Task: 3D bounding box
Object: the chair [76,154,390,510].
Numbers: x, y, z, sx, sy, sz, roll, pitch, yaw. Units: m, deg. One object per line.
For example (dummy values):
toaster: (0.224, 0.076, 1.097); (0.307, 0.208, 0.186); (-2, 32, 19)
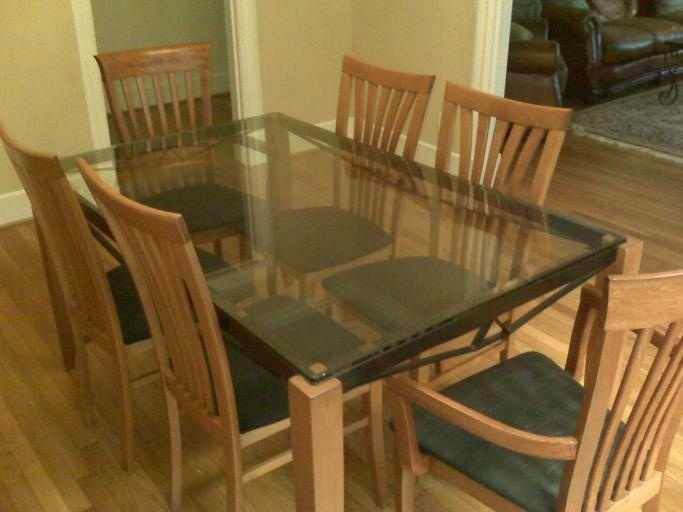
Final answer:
chair: (-0.306, 0.231, 1.758); (0.623, 1.200, 0.576); (-23, 38, -30)
